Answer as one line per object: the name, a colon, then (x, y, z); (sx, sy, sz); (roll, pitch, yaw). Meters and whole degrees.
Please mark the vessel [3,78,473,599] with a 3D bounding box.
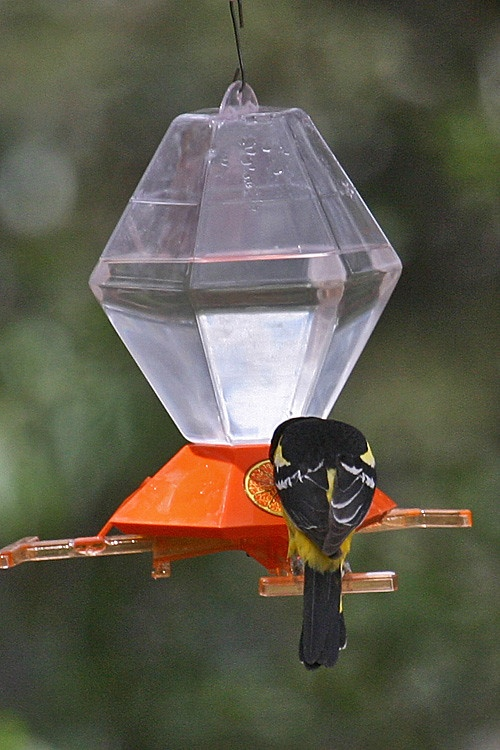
vessel: (0.057, -0.122, 2.096); (1.311, 0.981, 1.086); (-1, 1, -18)
